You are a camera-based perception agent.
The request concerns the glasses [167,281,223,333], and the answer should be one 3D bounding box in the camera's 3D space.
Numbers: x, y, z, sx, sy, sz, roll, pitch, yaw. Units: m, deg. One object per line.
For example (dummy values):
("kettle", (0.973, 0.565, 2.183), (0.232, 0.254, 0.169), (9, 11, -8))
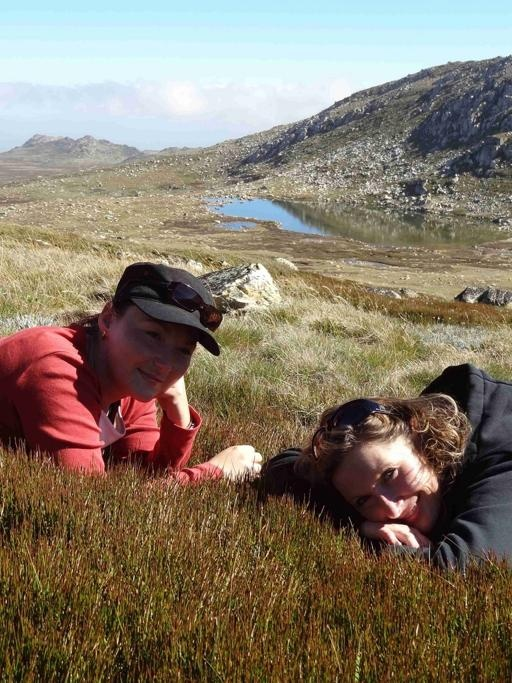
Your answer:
("glasses", (-0.265, -0.164, 2.406), (0.209, 0.062, 0.209), (15, -9, 28))
